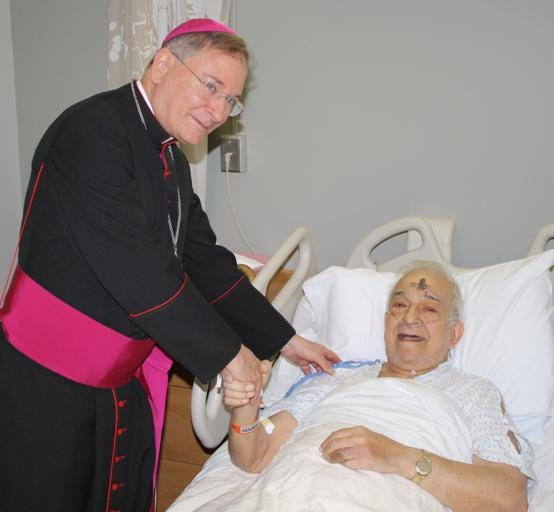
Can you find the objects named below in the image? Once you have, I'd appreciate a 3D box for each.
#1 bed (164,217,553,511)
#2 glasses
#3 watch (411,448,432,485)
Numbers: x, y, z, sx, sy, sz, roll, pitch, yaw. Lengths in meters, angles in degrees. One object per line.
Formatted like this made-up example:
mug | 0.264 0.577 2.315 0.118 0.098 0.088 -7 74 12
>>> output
bed | 0.264 0.059 2.029 0.945 0.634 1.488 7 21 22
glasses | -0.186 -0.471 1.275 0.142 0.041 0.138 54 11 26
watch | 0.411 0.603 1.374 0.042 0.085 0.080 23 -15 15
